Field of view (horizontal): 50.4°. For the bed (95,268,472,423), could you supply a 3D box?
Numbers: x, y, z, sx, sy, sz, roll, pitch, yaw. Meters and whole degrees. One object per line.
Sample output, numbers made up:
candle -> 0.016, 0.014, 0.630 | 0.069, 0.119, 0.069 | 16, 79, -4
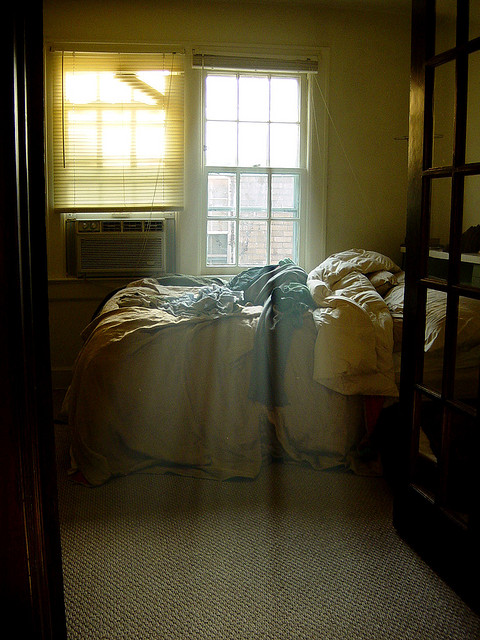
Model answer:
bed -> 0.003, 0.070, 2.295 | 1.007, 0.339, 0.889 | -10, 17, -14

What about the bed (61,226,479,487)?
bed -> 0.000, 0.169, 2.404 | 1.303, 0.647, 1.174 | 2, 36, 0

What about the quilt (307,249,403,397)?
quilt -> 0.665, -0.172, 2.896 | 0.459, 0.288, 0.846 | -11, 12, 25
